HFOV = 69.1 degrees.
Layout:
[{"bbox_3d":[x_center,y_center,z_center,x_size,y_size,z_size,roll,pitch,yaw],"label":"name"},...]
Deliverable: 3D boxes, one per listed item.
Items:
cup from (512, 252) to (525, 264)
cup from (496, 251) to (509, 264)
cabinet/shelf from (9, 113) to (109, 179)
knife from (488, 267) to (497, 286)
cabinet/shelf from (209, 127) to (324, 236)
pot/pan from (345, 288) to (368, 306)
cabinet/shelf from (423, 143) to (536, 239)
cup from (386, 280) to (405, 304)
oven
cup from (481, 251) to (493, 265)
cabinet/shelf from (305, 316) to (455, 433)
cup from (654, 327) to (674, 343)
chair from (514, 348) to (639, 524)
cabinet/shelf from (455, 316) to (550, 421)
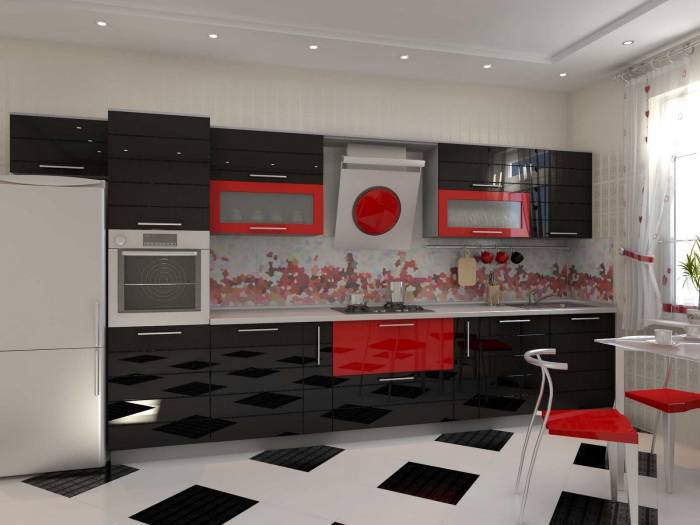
[{"bbox_3d":[1.711,-0.040,5.160,0.098,0.135,0.201,6,9,41],"label":"cup"},{"bbox_3d":[1.515,-0.048,5.072,0.082,0.064,0.117,-43,11,-2],"label":"cup"},{"bbox_3d":[-2.295,-0.902,4.102,0.840,0.500,0.454,1,-6,-11],"label":"cabinet/shelf"},{"bbox_3d":[1.428,0.149,5.107,0.075,0.148,0.137,2,7,15],"label":"knife"},{"bbox_3d":[-0.733,-0.703,4.329,1.058,0.788,0.385,0,-2,-13],"label":"cabinet/shelf"},{"bbox_3d":[0.070,0.321,4.684,0.193,0.124,0.135,0,1,-10],"label":"pot/pan"},{"bbox_3d":[1.236,-0.678,4.802,1.005,0.761,0.364,0,-1,-9],"label":"cabinet/shelf"},{"bbox_3d":[0.439,0.286,4.761,0.195,0.198,0.181,1,1,0],"label":"cup"},{"bbox_3d":[-1.426,0.109,4.126,0.812,0.757,0.528,0,-1,7],"label":"oven"},{"bbox_3d":[1.369,-0.048,5.070,0.113,0.126,0.164,2,7,15],"label":"cup"},{"bbox_3d":[0.234,0.896,4.555,1.569,0.965,0.844,0,-3,-14],"label":"cabinet/shelf"},{"bbox_3d":[2.056,0.486,3.364,0.120,0.095,0.106,-1,-2,40],"label":"cup"},{"bbox_3d":[1.595,1.056,3.596,0.695,1.050,1.351,3,8,24],"label":"chair"},{"bbox_3d":[1.270,0.918,4.375,1.034,0.813,0.377,0,-4,-13],"label":"cabinet/shelf"}]
